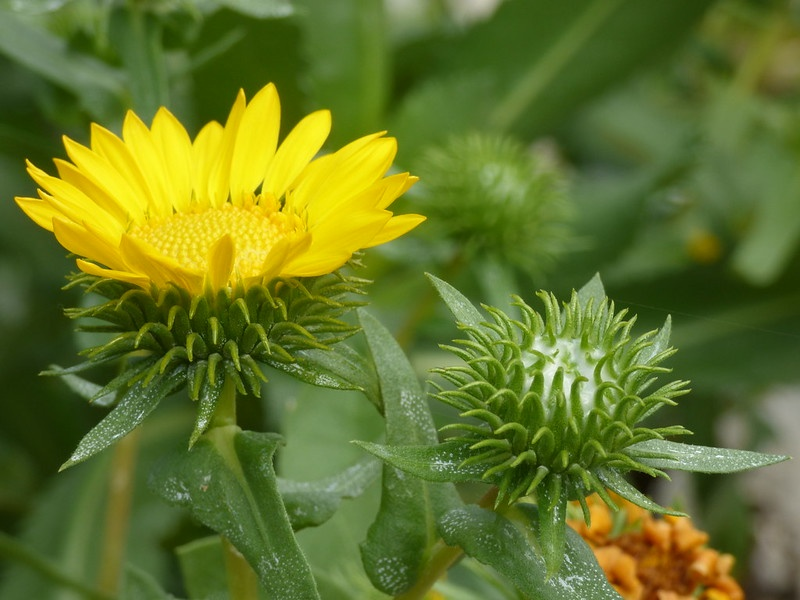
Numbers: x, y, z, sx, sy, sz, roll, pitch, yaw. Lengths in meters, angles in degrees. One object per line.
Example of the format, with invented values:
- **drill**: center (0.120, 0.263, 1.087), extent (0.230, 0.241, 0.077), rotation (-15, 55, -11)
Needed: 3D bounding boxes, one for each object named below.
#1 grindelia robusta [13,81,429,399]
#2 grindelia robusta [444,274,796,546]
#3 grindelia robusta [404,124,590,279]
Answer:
- **grindelia robusta**: center (-0.188, -0.079, 0.868), extent (0.317, 0.258, 0.282), rotation (-12, 37, -40)
- **grindelia robusta**: center (0.169, 0.127, 0.866), extent (0.343, 0.139, 0.269), rotation (0, 1, -28)
- **grindelia robusta**: center (0.157, -0.171, 1.302), extent (0.253, 0.239, 0.102), rotation (19, 20, -4)
